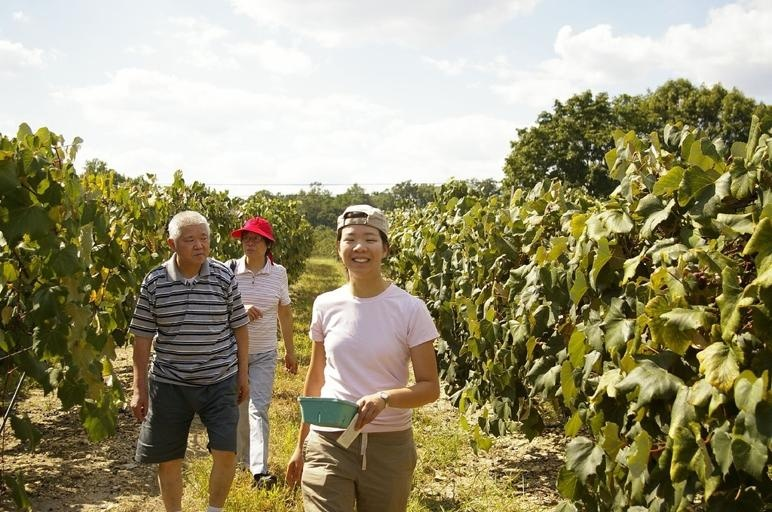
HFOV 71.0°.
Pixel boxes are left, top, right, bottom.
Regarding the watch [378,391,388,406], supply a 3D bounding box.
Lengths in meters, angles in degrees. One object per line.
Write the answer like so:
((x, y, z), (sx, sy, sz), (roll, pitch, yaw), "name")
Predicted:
((-0.013, 0.679, 2.595), (0.047, 0.058, 0.038), (3, -5, -27), "watch")

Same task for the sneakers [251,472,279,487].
((-1.041, 1.919, 4.658), (0.151, 0.094, 0.159), (1, -11, 5), "sneakers")

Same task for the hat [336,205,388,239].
((-0.129, -0.204, 2.871), (0.186, 0.118, 0.194), (5, 0, 32), "hat")
